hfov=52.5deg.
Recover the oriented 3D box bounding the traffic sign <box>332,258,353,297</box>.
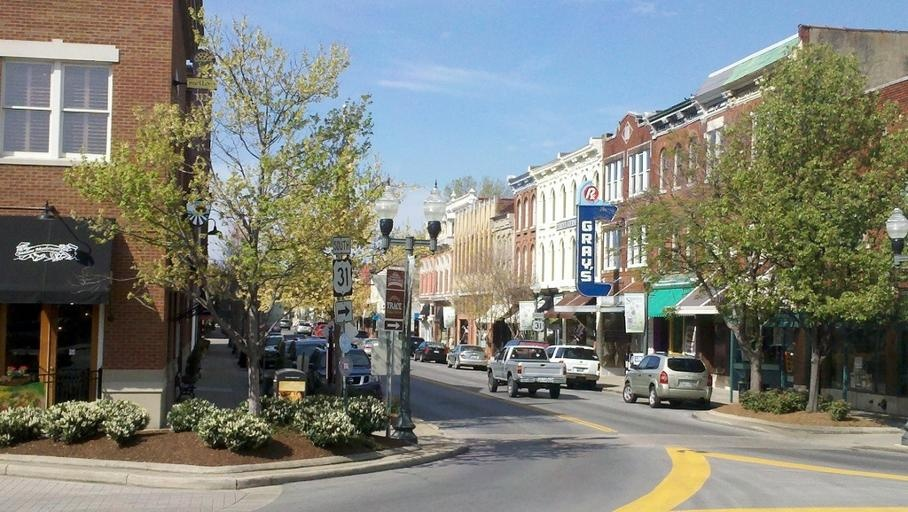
[{"bbox_3d":[-3.525,0.667,29.142,0.590,1.078,0.738,1,-10,-11],"label":"traffic sign"}]

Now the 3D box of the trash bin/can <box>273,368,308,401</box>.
[{"bbox_3d":[-5.808,4.584,33.067,1.355,1.265,0.907,5,-18,-18],"label":"trash bin/can"}]

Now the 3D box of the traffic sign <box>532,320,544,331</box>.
[{"bbox_3d":[5.680,4.659,61.362,0.632,0.814,1.152,1,-4,3],"label":"traffic sign"}]

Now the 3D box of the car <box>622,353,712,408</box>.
[{"bbox_3d":[9.626,5.748,42.210,2.612,2.401,4.260,6,-12,-32],"label":"car"}]
